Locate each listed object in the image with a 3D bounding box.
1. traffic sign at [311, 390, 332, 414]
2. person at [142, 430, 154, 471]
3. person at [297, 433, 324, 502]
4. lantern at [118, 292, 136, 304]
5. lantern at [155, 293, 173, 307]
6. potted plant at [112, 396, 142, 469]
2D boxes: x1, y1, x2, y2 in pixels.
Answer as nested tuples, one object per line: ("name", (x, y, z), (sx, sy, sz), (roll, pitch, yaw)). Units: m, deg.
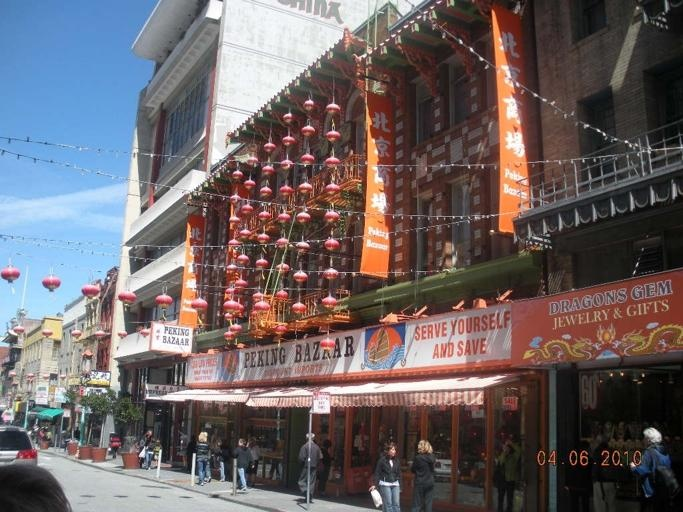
("traffic sign", (-0.601, 4.242, 21.083), (0.519, 0.627, 0.544), (2, -17, -3))
("person", (-9.469, 9.596, 35.678), (0.472, 1.763, 1.603), (5, -18, -14))
("person", (-1.031, 6.801, 23.334), (0.657, 2.067, 0.691), (8, -21, -15))
("lantern", (-8.863, 1.722, 30.221), (0.578, 0.479, 0.614), (3, 3, 2))
("lantern", (-6.833, 1.727, 28.370), (0.580, 0.650, 0.636), (4, 4, 19))
("potted plant", (-12.545, 10.334, 42.686), (1.395, 3.993, 0.987), (2, -9, -36))
